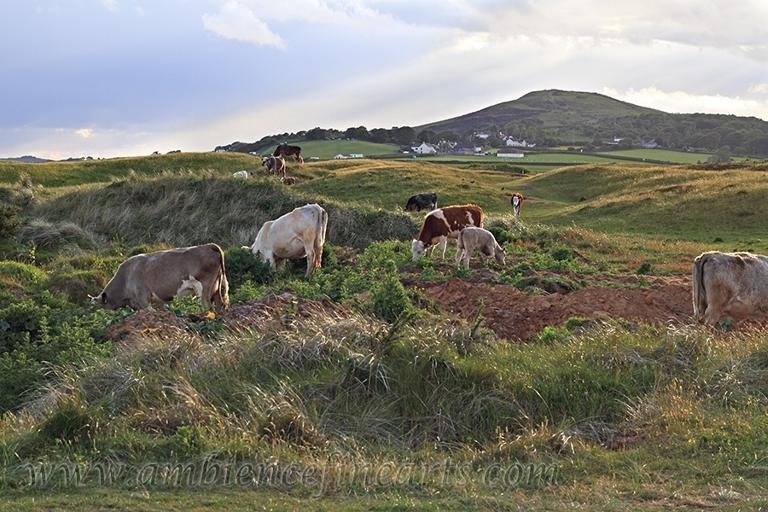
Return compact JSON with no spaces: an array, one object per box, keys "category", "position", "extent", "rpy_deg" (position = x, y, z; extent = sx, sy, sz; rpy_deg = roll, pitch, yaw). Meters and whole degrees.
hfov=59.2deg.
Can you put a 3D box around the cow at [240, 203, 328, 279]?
[{"category":"cow","position":[-2.584,-0.441,19.045],"extent":[1.916,1.844,0.766],"rpy_deg":[-3,6,26]}]

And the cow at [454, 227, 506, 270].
[{"category":"cow","position":[3.016,-0.119,20.976],"extent":[1.884,1.342,0.541],"rpy_deg":[10,-4,-31]}]

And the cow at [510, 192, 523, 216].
[{"category":"cow","position":[8.598,-3.303,44.060],"extent":[0.592,2.104,0.899],"rpy_deg":[-2,-4,18]}]
